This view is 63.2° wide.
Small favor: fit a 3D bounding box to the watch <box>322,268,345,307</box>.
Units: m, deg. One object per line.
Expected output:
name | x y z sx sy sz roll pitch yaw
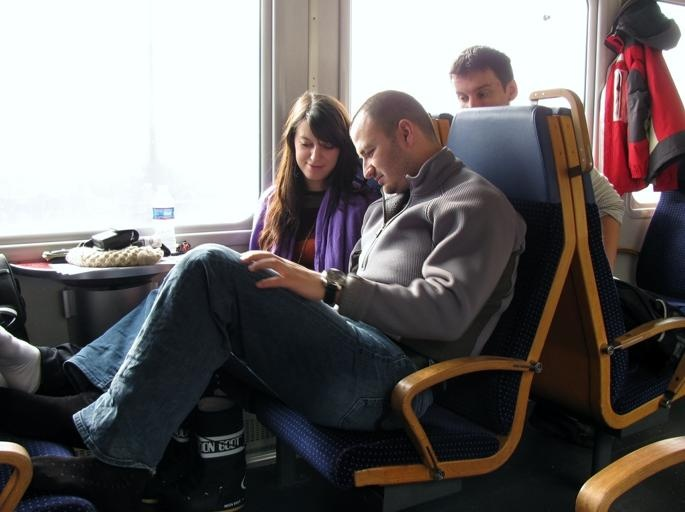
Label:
watch | -0.030 0.091 1.738 0.067 0.107 0.100 -1 -5 -10
